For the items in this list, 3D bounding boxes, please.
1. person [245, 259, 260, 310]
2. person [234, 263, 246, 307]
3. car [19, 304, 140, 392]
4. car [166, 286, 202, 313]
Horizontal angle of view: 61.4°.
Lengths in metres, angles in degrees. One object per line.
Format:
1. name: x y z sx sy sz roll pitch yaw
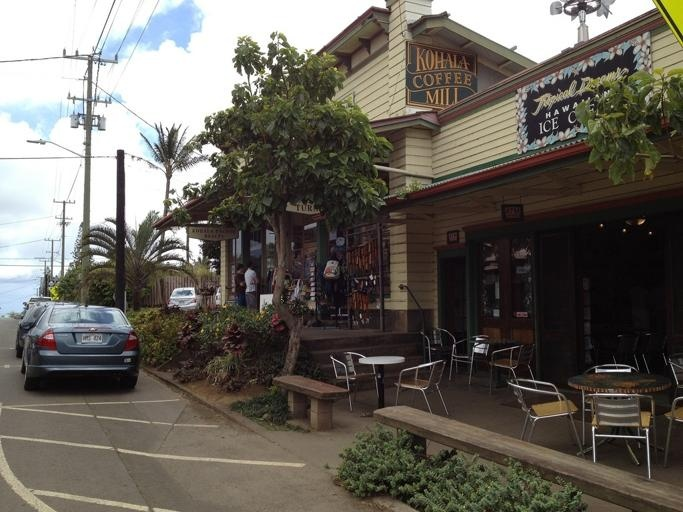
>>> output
1. person: -2.740 0.941 17.408 0.379 1.275 0.921 1 -6 -8
2. person: -3.383 0.960 19.288 0.322 1.356 1.008 1 -7 -11
3. car: -5.117 1.819 11.417 2.146 1.721 1.458 1 -7 -6
4. car: -7.460 1.929 27.482 1.394 1.153 4.141 2 -8 -15
